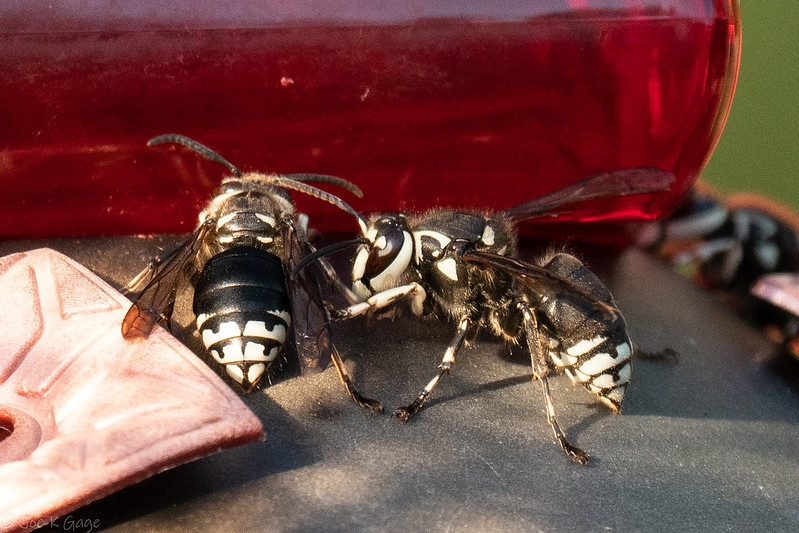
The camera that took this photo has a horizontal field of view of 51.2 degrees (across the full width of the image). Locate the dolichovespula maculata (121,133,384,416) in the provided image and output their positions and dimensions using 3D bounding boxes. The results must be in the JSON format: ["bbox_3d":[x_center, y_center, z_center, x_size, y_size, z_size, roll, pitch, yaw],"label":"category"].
[{"bbox_3d":[-0.214,0.022,1.209,0.368,0.132,0.405,0,44,-5],"label":"dolichovespula maculata"}]
